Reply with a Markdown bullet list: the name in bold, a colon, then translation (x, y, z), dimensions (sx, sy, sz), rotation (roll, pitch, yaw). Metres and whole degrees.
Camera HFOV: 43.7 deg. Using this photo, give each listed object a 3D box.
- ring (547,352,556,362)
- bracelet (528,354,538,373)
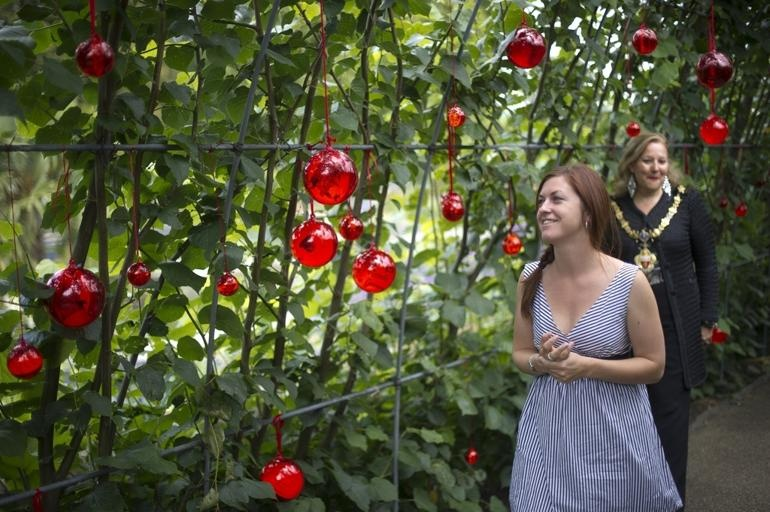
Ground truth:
- **ring**: translation (0.620, 0.373, 3.547), dimensions (0.007, 0.028, 0.027), rotation (2, -25, -30)
- **bracelet**: translation (0.566, 0.407, 3.635), dimensions (0.019, 0.056, 0.040), rotation (3, 14, 20)
